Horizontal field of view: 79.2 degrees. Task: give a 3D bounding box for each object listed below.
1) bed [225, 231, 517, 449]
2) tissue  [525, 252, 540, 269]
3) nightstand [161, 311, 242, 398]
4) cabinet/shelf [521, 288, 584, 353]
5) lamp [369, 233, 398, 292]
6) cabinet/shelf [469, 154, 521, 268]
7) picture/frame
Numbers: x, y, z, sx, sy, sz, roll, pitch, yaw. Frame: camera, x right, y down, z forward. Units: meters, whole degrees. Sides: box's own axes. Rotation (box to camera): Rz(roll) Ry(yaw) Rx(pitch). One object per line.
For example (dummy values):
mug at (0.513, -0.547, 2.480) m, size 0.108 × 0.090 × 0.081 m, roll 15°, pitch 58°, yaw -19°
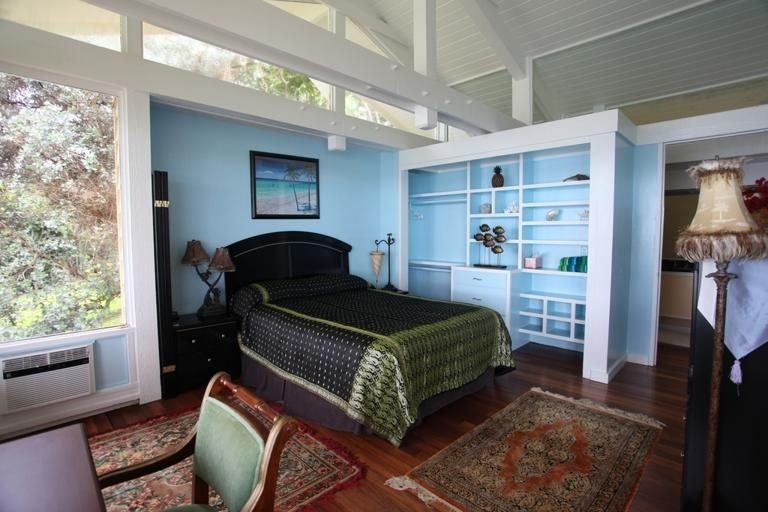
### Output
bed at (-0.236, 0.680, 5.396) m, size 2.946 × 1.530 × 2.168 m, roll 9°, pitch 12°, yaw 42°
tissue  at (2.071, 0.029, 6.379) m, size 0.297 × 0.183 × 0.157 m, roll -4°, pitch 7°, yaw -42°
nightstand at (-2.160, 1.116, 5.333) m, size 0.574 × 0.753 × 0.837 m, roll 0°, pitch 3°, yaw 40°
cabinet/shelf at (2.353, 0.823, 6.240) m, size 0.963 × 0.442 × 0.246 m, roll 5°, pitch 8°, yaw 42°
lamp at (-0.004, 0.075, 7.235) m, size 0.488 × 0.896 × 0.268 m, roll 7°, pitch -12°, yaw -30°
cabinet/shelf at (1.603, -0.625, 6.786) m, size 0.812 × 1.581 × 0.198 m, roll 0°, pitch -2°, yaw 21°
picture/frame at (-1.342, -0.952, 6.161) m, size 1.151 × 0.866 × 0.073 m, roll -1°, pitch 1°, yaw -41°
